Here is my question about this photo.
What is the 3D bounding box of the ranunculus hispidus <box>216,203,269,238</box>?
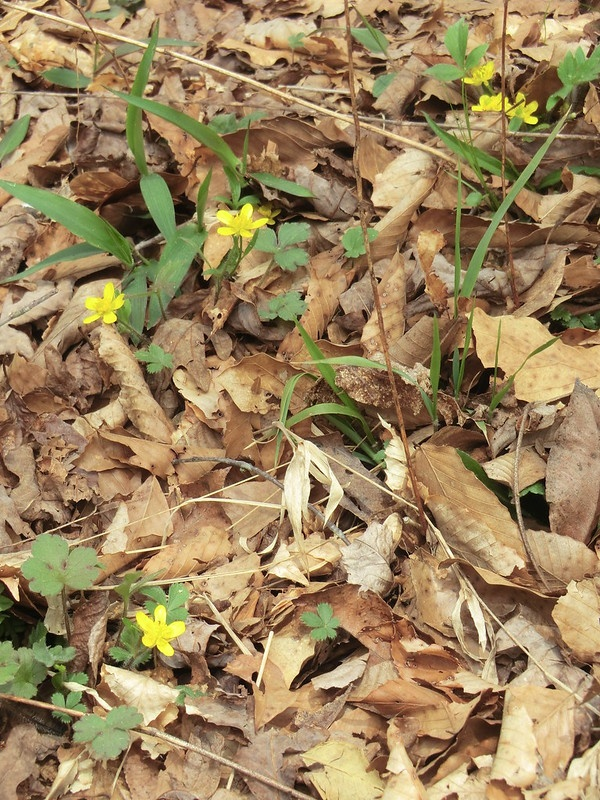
[{"bbox_3d":[-0.171,-0.526,2.130,0.148,0.054,0.137,-11,47,10],"label":"ranunculus hispidus"}]
